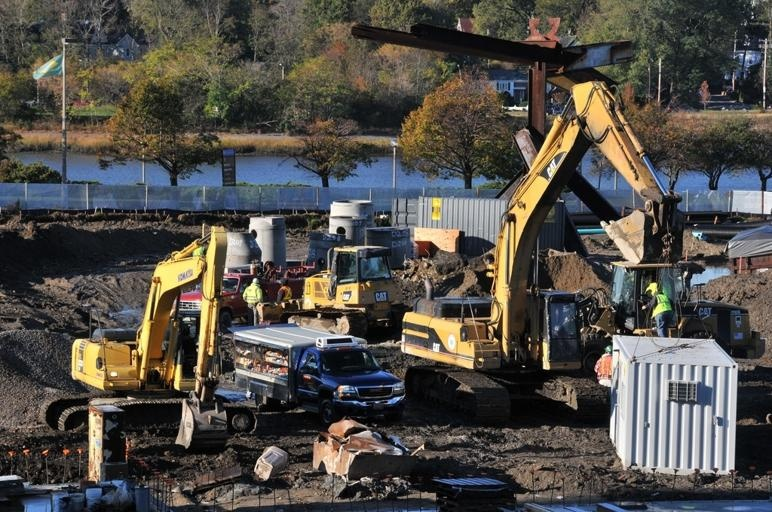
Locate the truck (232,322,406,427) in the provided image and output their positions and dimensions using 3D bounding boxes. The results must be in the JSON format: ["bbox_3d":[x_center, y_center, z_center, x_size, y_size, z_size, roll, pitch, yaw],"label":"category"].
[{"bbox_3d":[-4.223,6.426,90.587,4.529,3.887,8.522,-4,7,-43],"label":"truck"}]

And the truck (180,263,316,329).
[{"bbox_3d":[-8.562,2.439,100.373,6.546,2.823,3.373,-2,1,-38],"label":"truck"}]

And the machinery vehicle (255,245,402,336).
[{"bbox_3d":[-3.007,1.975,99.905,7.807,4.849,5.876,3,6,40],"label":"machinery vehicle"}]

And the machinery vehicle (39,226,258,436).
[{"bbox_3d":[-12.679,3.861,91.855,8.852,10.976,11.995,-1,4,-28],"label":"machinery vehicle"}]

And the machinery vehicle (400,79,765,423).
[{"bbox_3d":[9.662,-0.239,89.642,17.221,17.766,4.379,-2,19,-6],"label":"machinery vehicle"}]
